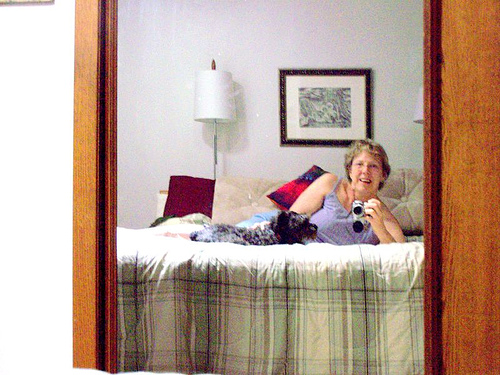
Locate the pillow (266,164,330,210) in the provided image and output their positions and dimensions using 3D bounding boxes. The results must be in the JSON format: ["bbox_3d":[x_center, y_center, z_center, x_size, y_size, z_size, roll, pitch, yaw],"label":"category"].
[{"bbox_3d":[0.189,-0.010,2.766,0.191,0.060,0.162,-39,46,-22],"label":"pillow"}]

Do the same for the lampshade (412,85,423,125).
[{"bbox_3d":[0.694,-0.334,2.786,0.036,0.150,0.027,0,4,-8],"label":"lampshade"}]

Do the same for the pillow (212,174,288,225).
[{"bbox_3d":[-0.035,0.044,2.772,0.199,0.228,0.069,6,-36,12],"label":"pillow"}]

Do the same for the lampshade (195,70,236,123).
[{"bbox_3d":[-0.138,-0.380,2.943,0.171,0.228,0.187,-1,-6,2],"label":"lampshade"}]
